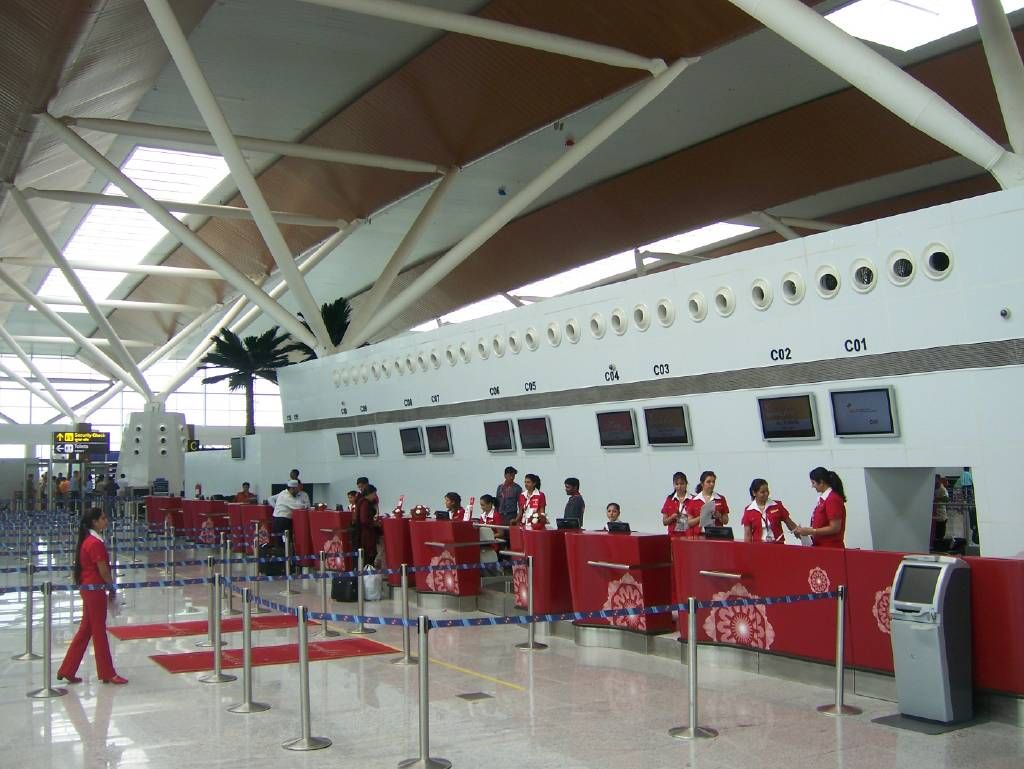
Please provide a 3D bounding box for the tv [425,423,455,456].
[{"bbox_3d":[-1.764,1.354,18.797,0.102,0.675,0.746,-5,-3,-36],"label":"tv"}]

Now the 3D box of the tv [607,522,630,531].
[{"bbox_3d":[1.470,1.970,10.444,0.303,0.121,0.468,-2,-9,4],"label":"tv"}]

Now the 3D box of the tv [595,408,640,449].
[{"bbox_3d":[1.993,0.857,14.348,0.164,0.716,0.994,5,-10,-37],"label":"tv"}]

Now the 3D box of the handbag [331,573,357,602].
[{"bbox_3d":[-3.026,3.703,13.717,0.320,0.454,0.689,3,-9,-26],"label":"handbag"}]

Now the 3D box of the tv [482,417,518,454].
[{"bbox_3d":[-0.237,1.133,16.989,0.122,0.690,0.762,-6,-4,-34],"label":"tv"}]

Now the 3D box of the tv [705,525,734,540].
[{"bbox_3d":[2.496,1.800,9.138,0.333,0.135,0.489,-3,-9,13],"label":"tv"}]

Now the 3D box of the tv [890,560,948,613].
[{"bbox_3d":[3.754,1.854,7.001,0.446,0.394,0.262,-7,-10,34],"label":"tv"}]

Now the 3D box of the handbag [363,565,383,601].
[{"bbox_3d":[-2.492,3.649,13.804,0.390,0.604,0.289,3,-9,-29],"label":"handbag"}]

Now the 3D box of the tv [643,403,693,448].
[{"bbox_3d":[2.764,0.751,13.407,0.261,0.719,0.920,4,-10,-35],"label":"tv"}]

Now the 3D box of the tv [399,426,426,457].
[{"bbox_3d":[-2.572,1.453,19.701,0.105,0.621,0.770,-5,-2,-37],"label":"tv"}]

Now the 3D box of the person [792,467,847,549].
[{"bbox_3d":[3.787,1.497,9.275,0.546,0.959,1.395,-4,-9,22],"label":"person"}]

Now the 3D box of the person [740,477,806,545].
[{"bbox_3d":[3.315,1.904,9.710,0.652,1.386,0.516,-8,11,22],"label":"person"}]

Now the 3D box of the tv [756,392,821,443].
[{"bbox_3d":[4.305,0.496,11.659,0.100,0.577,0.746,-4,0,-38],"label":"tv"}]

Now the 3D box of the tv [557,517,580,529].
[{"bbox_3d":[0.872,2.034,11.046,0.432,0.155,0.323,-7,-10,35],"label":"tv"}]

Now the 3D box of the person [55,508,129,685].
[{"bbox_3d":[-4.890,2.445,8.855,0.642,1.997,1.015,3,-9,-30],"label":"person"}]

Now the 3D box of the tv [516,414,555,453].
[{"bbox_3d":[0.491,1.057,16.079,0.279,0.715,1.008,4,-10,-33],"label":"tv"}]

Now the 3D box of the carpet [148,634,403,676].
[{"bbox_3d":[-3.107,3.548,9.938,2.974,0.064,1.325,2,-9,-19],"label":"carpet"}]

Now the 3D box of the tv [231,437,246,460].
[{"bbox_3d":[-8.978,2.105,24.848,0.243,0.745,0.732,3,-4,-43],"label":"tv"}]
